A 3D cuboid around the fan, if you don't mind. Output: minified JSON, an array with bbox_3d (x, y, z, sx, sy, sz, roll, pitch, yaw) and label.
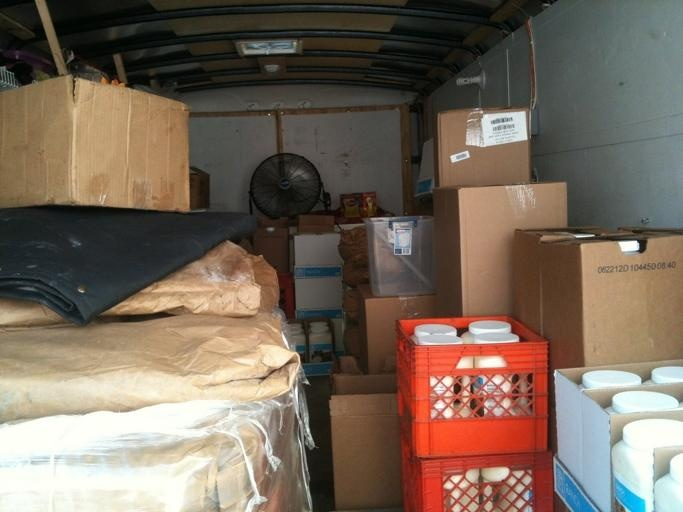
[{"bbox_3d":[-0.554,-0.710,5.685,0.967,0.832,0.371,-1,3,-2],"label":"fan"}]

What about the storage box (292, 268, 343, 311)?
[{"bbox_3d":[-0.275,0.304,4.798,0.493,0.449,0.270,0,-2,-39],"label":"storage box"}]

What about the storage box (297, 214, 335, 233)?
[{"bbox_3d":[-0.221,-0.282,5.008,0.205,0.136,0.191,0,9,-2],"label":"storage box"}]

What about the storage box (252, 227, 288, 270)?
[{"bbox_3d":[-0.587,-0.072,4.574,0.362,0.447,0.241,-1,4,-3],"label":"storage box"}]
